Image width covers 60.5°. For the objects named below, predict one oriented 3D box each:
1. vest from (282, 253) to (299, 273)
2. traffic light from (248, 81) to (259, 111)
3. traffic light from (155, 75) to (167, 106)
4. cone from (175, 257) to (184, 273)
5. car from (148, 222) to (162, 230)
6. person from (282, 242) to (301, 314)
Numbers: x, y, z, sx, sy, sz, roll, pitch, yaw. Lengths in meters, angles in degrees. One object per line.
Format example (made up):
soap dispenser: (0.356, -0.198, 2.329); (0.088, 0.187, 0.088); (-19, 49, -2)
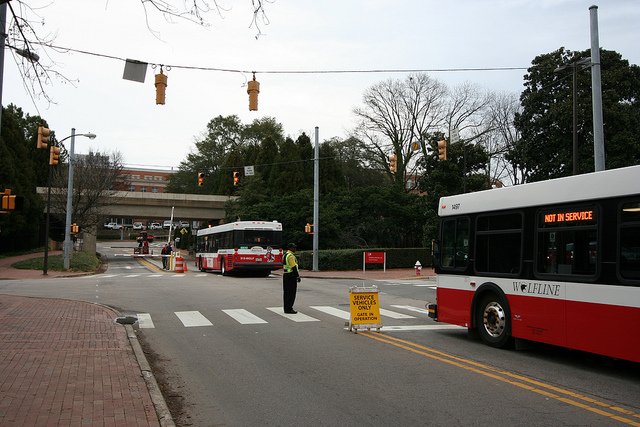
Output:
vest: (-1.009, 1.576, 17.663); (0.450, 0.852, 0.617); (-5, 0, -26)
traffic light: (-2.036, -3.712, 16.979); (0.278, 0.968, 0.915); (3, -5, -16)
traffic light: (-4.845, -3.758, 16.575); (0.314, 0.995, 0.758); (3, -5, -17)
cone: (-9.734, 3.540, 37.739); (0.532, 1.044, 1.224); (3, -5, -14)
car: (-33.882, 2.580, 112.608); (1.765, 0.962, 1.099); (-3, 7, -17)
person: (-0.949, 2.097, 17.920); (0.505, 2.260, 1.375); (2, -4, -3)
